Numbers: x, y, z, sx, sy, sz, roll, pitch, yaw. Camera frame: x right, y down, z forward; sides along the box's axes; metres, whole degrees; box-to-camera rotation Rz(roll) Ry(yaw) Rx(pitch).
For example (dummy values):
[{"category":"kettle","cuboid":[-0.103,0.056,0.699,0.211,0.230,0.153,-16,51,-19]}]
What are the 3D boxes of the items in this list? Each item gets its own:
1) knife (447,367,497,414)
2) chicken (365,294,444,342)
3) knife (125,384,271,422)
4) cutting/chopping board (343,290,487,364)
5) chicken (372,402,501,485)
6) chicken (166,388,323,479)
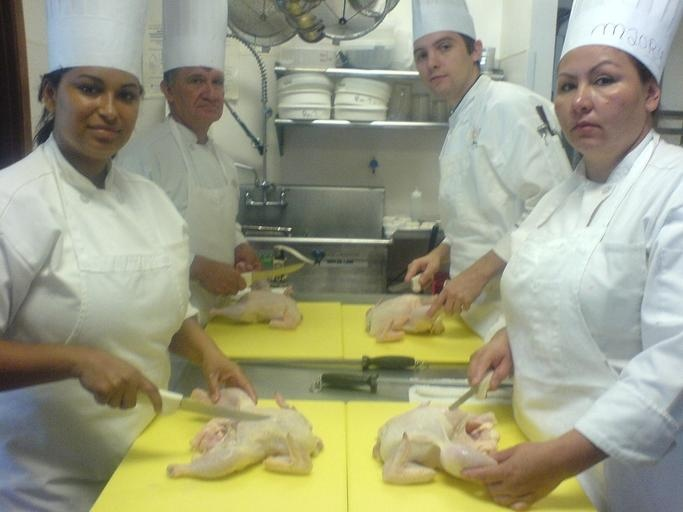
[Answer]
[{"category":"knife","cuboid":[0.473,0.482,2.500,0.178,0.035,0.053,-43,0,-11]},{"category":"chicken","cuboid":[0.263,0.266,3.046,0.235,0.110,0.209,-6,12,-5]},{"category":"knife","cuboid":[-0.488,0.491,2.335,0.447,0.073,0.066,12,17,-14]},{"category":"cutting/chopping board","cuboid":[0.305,0.324,3.101,0.611,0.071,0.662,1,22,-1]},{"category":"chicken","cuboid":[0.310,0.604,2.287,0.425,0.187,0.370,1,18,27]},{"category":"chicken","cuboid":[-0.281,0.573,2.248,0.313,0.106,0.251,5,24,-7]}]
